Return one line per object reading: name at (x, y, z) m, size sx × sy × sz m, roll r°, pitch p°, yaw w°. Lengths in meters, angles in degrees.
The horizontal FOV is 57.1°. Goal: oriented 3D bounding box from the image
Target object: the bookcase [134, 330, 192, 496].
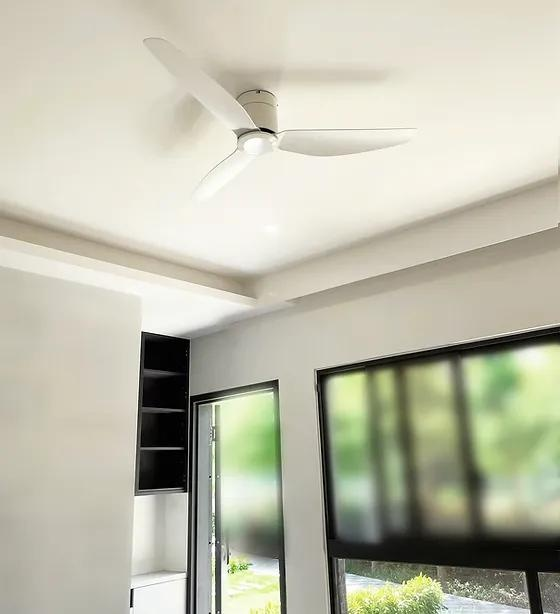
bookcase at (-1.000, 0.825, 3.994) m, size 0.356 × 1.195 × 0.499 m, roll -18°, pitch -21°, yaw 36°
